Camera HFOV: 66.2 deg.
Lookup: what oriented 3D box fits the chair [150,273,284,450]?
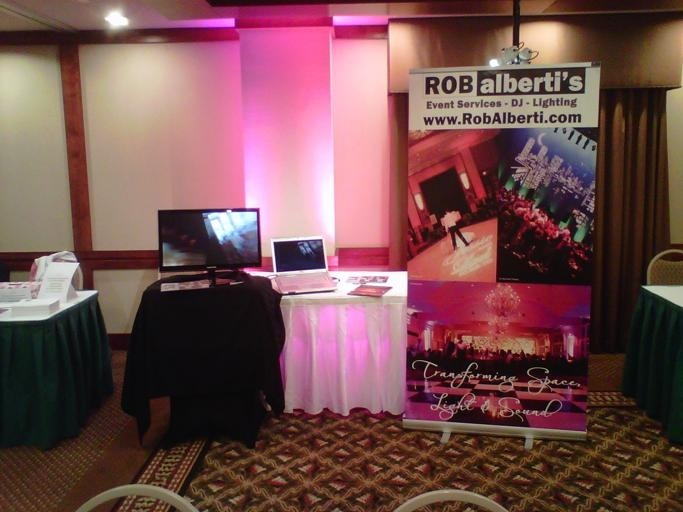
[{"bbox_3d":[-0.770,0.762,4.261,0.929,1.286,1.096,0,5,-1],"label":"chair"}]

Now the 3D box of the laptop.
[{"bbox_3d":[-0.314,0.118,4.269,0.451,0.316,0.473,-4,24,-12],"label":"laptop"}]

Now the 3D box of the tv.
[{"bbox_3d":[-1.020,-0.059,4.032,0.549,0.446,0.171,-1,-4,-16],"label":"tv"}]

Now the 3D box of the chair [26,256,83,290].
[{"bbox_3d":[-2.297,0.138,4.211,0.276,0.288,0.156,-1,-6,-2],"label":"chair"}]
